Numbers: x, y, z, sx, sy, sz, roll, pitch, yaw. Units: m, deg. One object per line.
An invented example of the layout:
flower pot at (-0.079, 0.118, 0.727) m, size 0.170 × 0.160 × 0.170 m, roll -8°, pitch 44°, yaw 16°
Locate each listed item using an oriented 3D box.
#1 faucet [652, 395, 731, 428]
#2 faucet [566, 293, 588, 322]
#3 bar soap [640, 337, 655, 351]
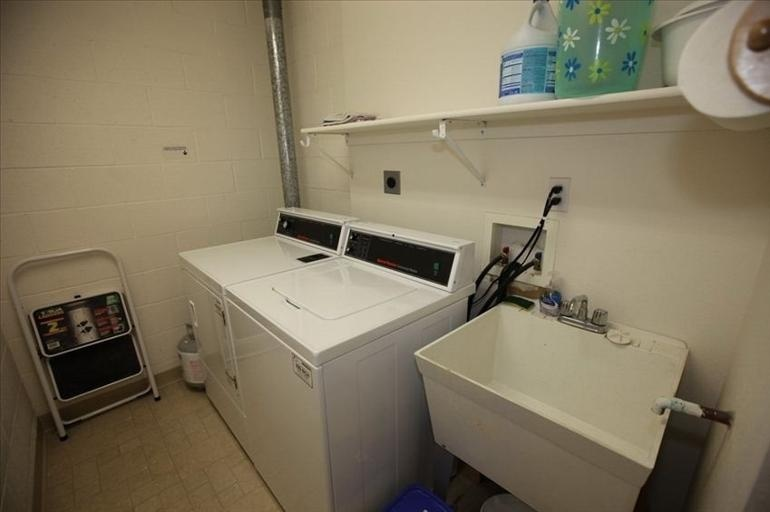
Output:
faucet at (1.218, 0.622, 1.900) m, size 0.291 × 0.115 × 0.084 m, roll 1°, pitch 18°, yaw 5°
faucet at (0.942, 0.260, 2.374) m, size 0.086 × 0.093 × 0.127 m, roll 1°, pitch 5°, yaw 2°
bar soap at (1.223, 0.414, 2.252) m, size 0.052 × 0.015 × 0.048 m, roll 11°, pitch 46°, yaw 41°
